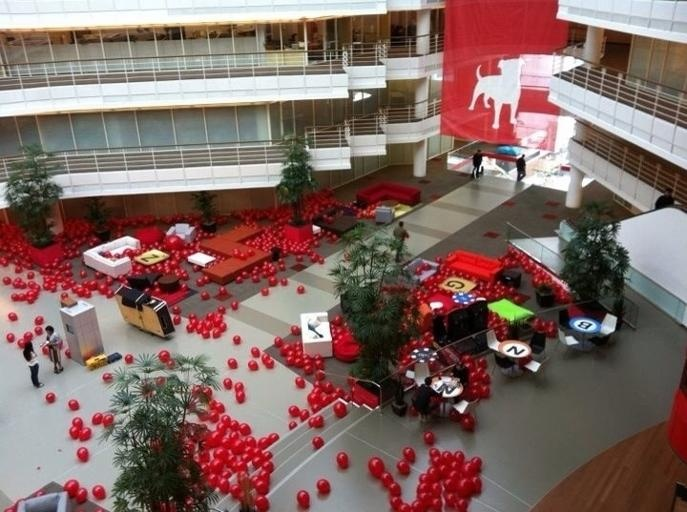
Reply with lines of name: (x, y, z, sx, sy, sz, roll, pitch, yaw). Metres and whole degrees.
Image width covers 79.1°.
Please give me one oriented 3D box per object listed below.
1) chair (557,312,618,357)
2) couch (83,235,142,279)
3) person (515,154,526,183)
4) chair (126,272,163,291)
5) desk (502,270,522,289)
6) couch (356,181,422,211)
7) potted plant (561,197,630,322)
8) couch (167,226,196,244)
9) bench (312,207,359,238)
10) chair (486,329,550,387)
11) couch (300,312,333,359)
chair: (7.091, 2.113, 12.113, 1.767, 0.930, 0.830, -7, 28, -1)
couch: (-10.144, 0.201, 17.747, 2.518, 0.764, 2.303, 8, 19, -11)
person: (10.418, -5.153, 24.438, 0.531, 1.348, 1.034, 7, 31, 25)
chair: (-7.811, 0.916, 16.381, 0.939, 0.453, 0.786, 8, 33, 14)
desk: (6.409, 0.852, 15.992, 0.659, 0.635, 0.660, 11, 49, 43)
couch: (2.700, -3.369, 22.848, 2.198, 0.777, 2.200, 24, 46, 35)
potted plant: (7.901, 0.279, 13.011, 1.490, 2.421, 2.037, -20, 31, -24)
couch: (-7.575, -1.126, 19.666, 1.251, 0.756, 0.840, 4, 43, 8)
bench: (-0.132, -1.822, 20.549, 2.119, 0.459, 1.993, 24, 41, 29)
chair: (4.726, 2.680, 11.505, 1.372, 0.584, 1.319, -26, 44, -25)
couch: (-0.895, 2.434, 13.529, 0.968, 0.364, 1.632, -1, 27, -11)
